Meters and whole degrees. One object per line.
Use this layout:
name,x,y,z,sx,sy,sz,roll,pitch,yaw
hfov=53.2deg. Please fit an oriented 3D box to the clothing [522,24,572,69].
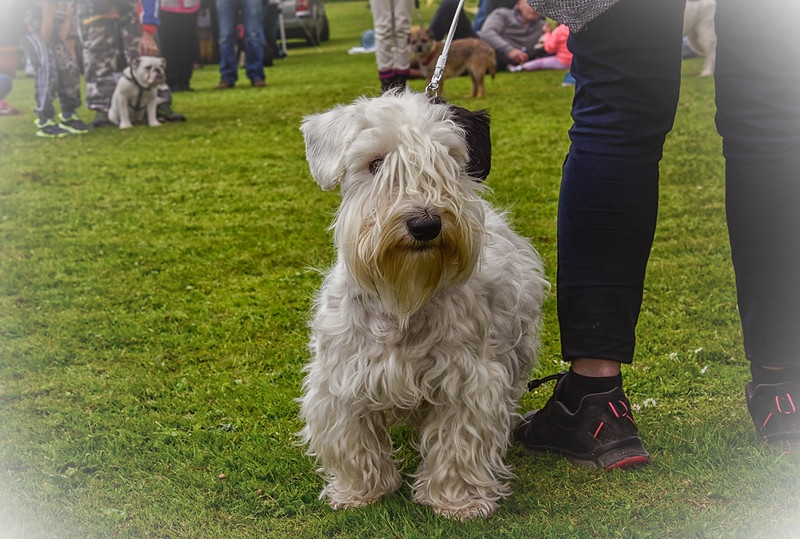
clothing,2.206,-3.308,11.648,0.669,0.930,0.553,6,14,21

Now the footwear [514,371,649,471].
footwear,0.885,0.761,4.208,0.357,0.443,0.969,-8,1,-24
